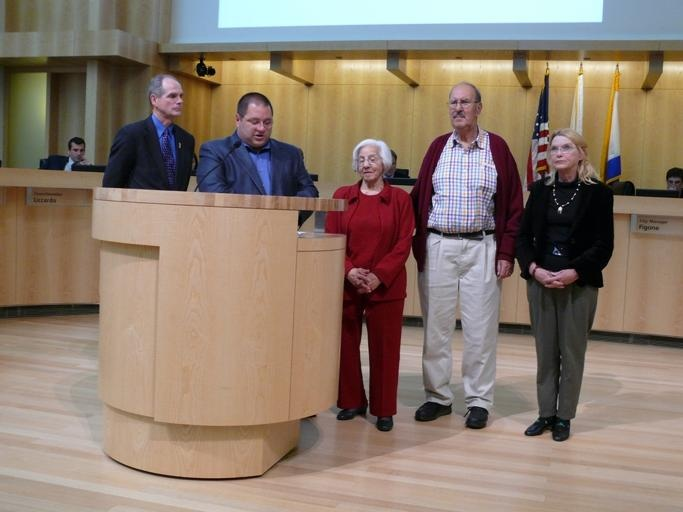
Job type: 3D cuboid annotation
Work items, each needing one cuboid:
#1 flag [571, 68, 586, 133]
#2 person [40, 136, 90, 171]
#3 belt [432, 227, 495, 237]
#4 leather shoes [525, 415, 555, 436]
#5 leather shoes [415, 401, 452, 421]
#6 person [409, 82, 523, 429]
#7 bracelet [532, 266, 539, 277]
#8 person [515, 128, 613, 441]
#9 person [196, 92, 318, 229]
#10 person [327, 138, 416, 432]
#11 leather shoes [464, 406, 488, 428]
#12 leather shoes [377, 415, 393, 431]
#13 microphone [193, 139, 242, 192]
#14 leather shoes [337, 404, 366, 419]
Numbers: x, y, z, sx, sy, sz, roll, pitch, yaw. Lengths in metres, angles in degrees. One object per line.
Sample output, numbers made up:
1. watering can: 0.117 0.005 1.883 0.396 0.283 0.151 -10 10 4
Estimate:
1. flag: 3.120 -2.097 9.095 0.172 0.963 0.696 4 8 18
2. person: -3.279 -1.236 8.276 0.440 0.377 0.783 -4 11 -33
3. belt: 0.745 -0.149 4.500 0.363 0.058 0.069 3 9 9
4. leather shoes: 1.250 1.074 4.401 0.253 0.117 0.084 -3 5 -36
5. leather shoes: 0.607 1.022 4.563 0.262 0.120 0.092 7 -7 -43
6. person: 0.788 0.090 4.513 0.728 1.958 0.436 3 8 15
7. bracelet: 1.196 0.089 4.261 0.023 0.052 0.039 -2 9 -26
8. person: 1.367 0.171 4.305 0.559 1.899 0.378 5 8 24
9. person: -0.500 -0.673 4.177 0.734 0.600 0.329 0 8 -13
10. person: 0.174 0.169 4.414 0.546 1.801 0.436 2 8 6
11. leather shoes: 0.883 1.031 4.505 0.154 0.118 0.261 4 9 13
12. leather shoes: 0.277 1.046 4.358 0.119 0.082 0.119 1 9 -4
13. microphone: -0.759 -0.534 4.099 0.285 0.337 0.112 -1 -3 -1
14. leather shoes: 0.063 1.026 4.566 0.202 0.097 0.074 7 -6 -40
